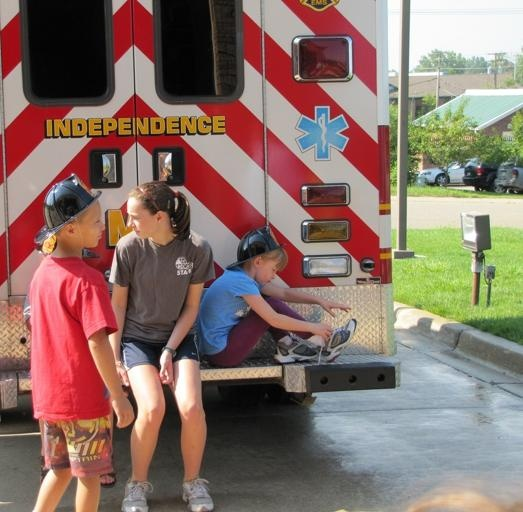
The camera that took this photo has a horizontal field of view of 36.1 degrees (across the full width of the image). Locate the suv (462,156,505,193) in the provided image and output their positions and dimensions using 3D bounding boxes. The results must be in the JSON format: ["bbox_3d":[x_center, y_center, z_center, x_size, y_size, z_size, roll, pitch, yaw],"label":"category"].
[{"bbox_3d":[9.468,-3.286,32.627,2.483,1.089,1.117,-14,14,-37],"label":"suv"}]

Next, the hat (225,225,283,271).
[{"bbox_3d":[-0.030,-0.069,4.698,0.291,0.122,0.208,-23,3,23],"label":"hat"}]

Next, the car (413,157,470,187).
[{"bbox_3d":[7.975,-3.668,35.113,2.453,0.830,1.196,0,2,-7],"label":"car"}]

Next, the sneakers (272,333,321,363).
[{"bbox_3d":[0.198,0.549,4.700,0.302,0.175,0.119,-1,3,-7],"label":"sneakers"}]
